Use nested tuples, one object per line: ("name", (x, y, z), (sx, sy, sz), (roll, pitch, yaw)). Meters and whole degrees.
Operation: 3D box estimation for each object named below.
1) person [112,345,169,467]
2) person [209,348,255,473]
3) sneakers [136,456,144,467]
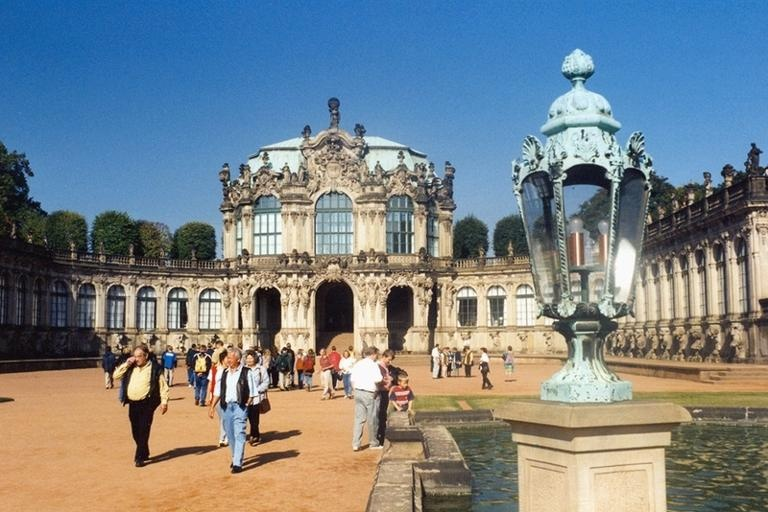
("person", (-6.007, 3.682, 22.336), (1.220, 2.941, 0.792), (0, -7, -13))
("person", (-3.699, 3.761, 22.342), (0.915, 2.977, 1.319), (1, -7, -19))
("sneakers", (-5.990, 5.043, 22.174), (0.238, 0.199, 0.214), (1, -7, -20))
